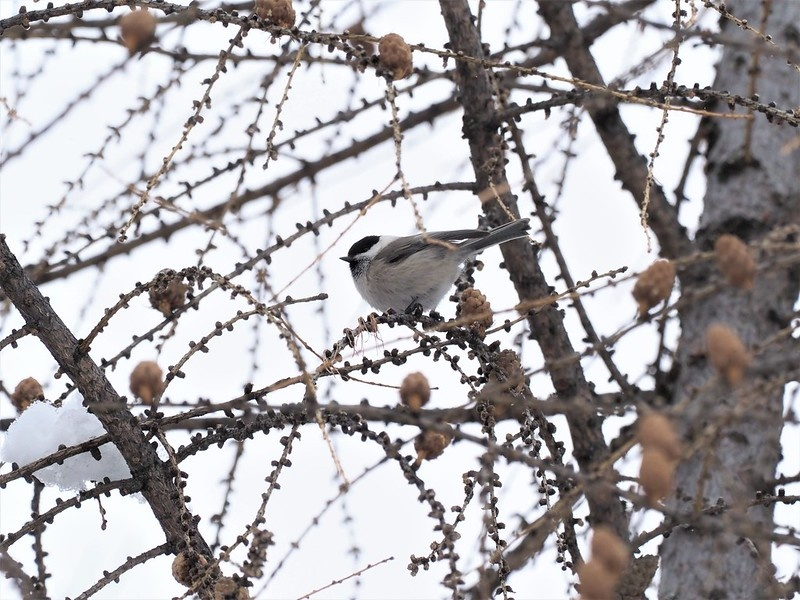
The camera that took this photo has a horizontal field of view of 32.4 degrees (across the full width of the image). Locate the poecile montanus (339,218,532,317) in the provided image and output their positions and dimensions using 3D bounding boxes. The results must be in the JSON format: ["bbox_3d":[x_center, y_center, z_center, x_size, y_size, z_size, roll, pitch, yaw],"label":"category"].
[{"bbox_3d":[0.268,-0.219,8.655,1.211,0.605,0.405,-14,-24,12],"label":"poecile montanus"}]
